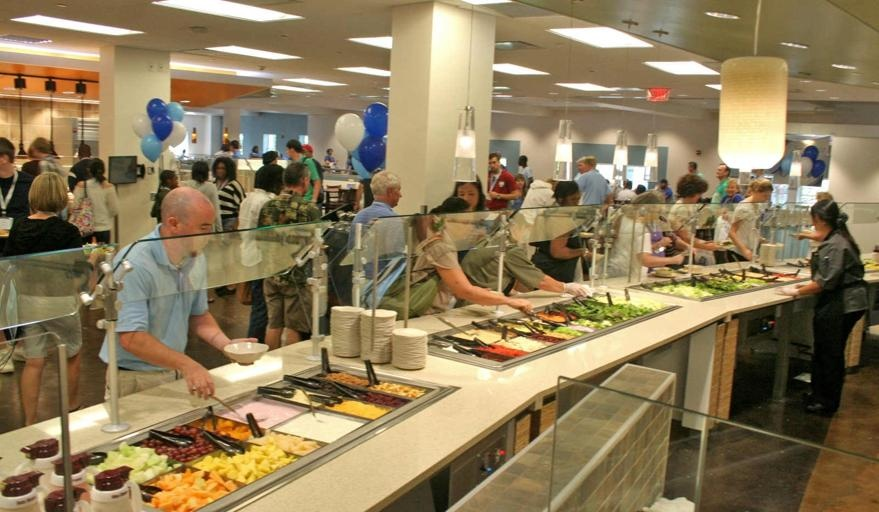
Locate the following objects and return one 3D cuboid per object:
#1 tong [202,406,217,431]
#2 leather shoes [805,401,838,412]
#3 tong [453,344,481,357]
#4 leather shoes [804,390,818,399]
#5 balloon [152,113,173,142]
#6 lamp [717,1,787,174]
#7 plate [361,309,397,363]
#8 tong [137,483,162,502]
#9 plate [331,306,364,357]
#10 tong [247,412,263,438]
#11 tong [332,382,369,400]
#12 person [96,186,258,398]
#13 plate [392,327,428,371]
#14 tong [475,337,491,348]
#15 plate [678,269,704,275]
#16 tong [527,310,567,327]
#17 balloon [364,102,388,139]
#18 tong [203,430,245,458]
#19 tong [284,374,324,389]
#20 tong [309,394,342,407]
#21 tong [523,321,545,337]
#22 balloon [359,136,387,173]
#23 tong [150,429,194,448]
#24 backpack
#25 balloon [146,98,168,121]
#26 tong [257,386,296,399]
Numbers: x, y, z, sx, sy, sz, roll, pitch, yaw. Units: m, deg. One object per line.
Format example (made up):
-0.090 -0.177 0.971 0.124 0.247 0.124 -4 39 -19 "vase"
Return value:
-1.082 0.796 2.993 0.035 0.079 0.067 -10 -13 27 "tong"
3.464 1.397 5.713 0.289 0.091 0.096 -2 5 9 "leather shoes"
0.188 0.595 3.871 0.115 0.042 0.163 -4 8 -30 "tong"
3.470 1.312 5.832 0.149 0.082 0.079 -10 6 -42 "leather shoes"
-3.824 -1.804 8.703 0.362 0.372 0.363 -8 14 -38 "balloon"
1.692 -0.775 3.375 0.338 0.599 0.167 4 9 18 "lamp"
-0.349 0.470 3.646 0.194 0.326 0.180 -1 9 -9 "plate"
-1.178 0.981 2.570 0.099 0.033 0.073 2 2 31 "tong"
-0.531 0.449 3.763 0.319 0.276 0.289 0 7 -6 "plate"
-0.874 0.805 2.956 0.044 0.027 0.175 -12 44 -36 "tong"
-0.471 0.714 3.286 0.198 0.065 0.076 2 8 12 "tong"
-1.315 0.216 3.089 0.623 1.098 0.607 -4 10 -27 "person"
-0.159 0.545 3.676 0.269 0.202 0.229 3 7 9 "plate"
0.287 0.563 4.040 0.022 0.028 0.115 -25 49 -35 "tong"
2.473 0.158 6.122 0.132 0.026 0.126 -5 7 -40 "plate"
0.801 0.464 4.543 0.208 0.040 0.121 10 9 32 "tong"
-0.664 -1.503 6.867 0.377 0.375 0.230 4 9 19 "balloon"
-0.953 0.857 2.820 0.217 0.050 0.075 20 39 23 "tong"
-0.701 0.676 3.304 0.155 0.029 0.078 7 4 0 "tong"
-0.581 0.748 3.192 0.123 0.022 0.066 4 5 2 "tong"
0.671 0.509 4.325 0.125 0.053 0.214 0 7 -7 "tong"
-0.723 -1.138 6.914 0.438 0.415 0.382 -3 17 -8 "balloon"
-1.196 0.825 2.825 0.140 0.028 0.077 17 9 7 "tong"
-0.183 0.181 4.094 0.295 0.581 0.876 3 8 16 "backpack"
-3.917 -2.088 8.774 0.256 0.297 0.302 -3 9 -22 "balloon"
-0.825 0.706 3.216 0.137 0.025 0.071 2 4 7 "tong"
